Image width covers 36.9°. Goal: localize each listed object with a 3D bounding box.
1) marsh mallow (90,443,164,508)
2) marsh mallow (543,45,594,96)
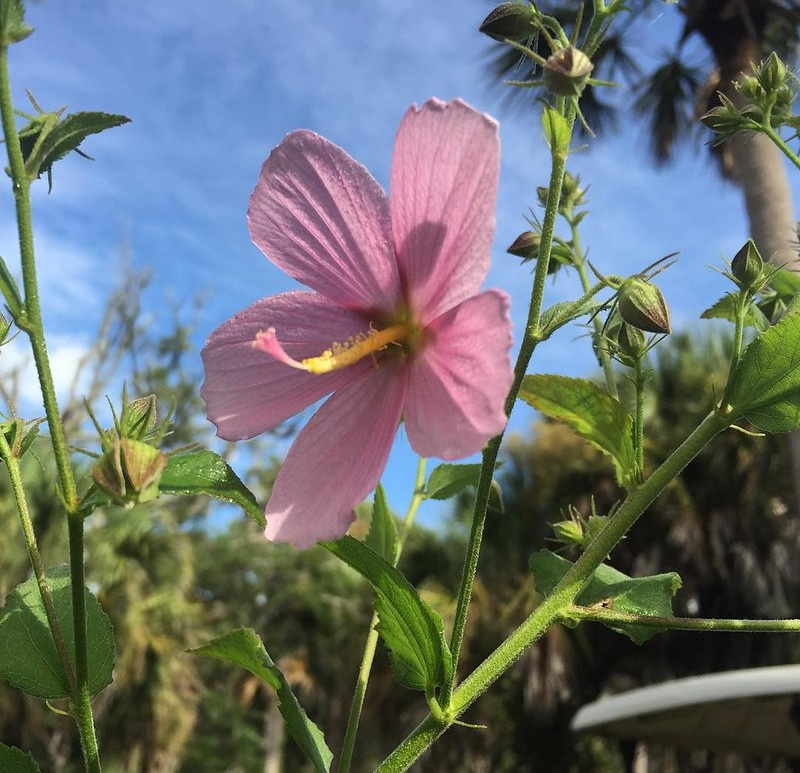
[{"bbox_3d":[-0.305,0.099,1.353,0.085,0.075,0.063,8,-15,-26],"label":"marsh mallow"},{"bbox_3d":[0.197,-0.378,1.438,0.056,0.058,0.024,2,2,-9],"label":"marsh mallow"}]
